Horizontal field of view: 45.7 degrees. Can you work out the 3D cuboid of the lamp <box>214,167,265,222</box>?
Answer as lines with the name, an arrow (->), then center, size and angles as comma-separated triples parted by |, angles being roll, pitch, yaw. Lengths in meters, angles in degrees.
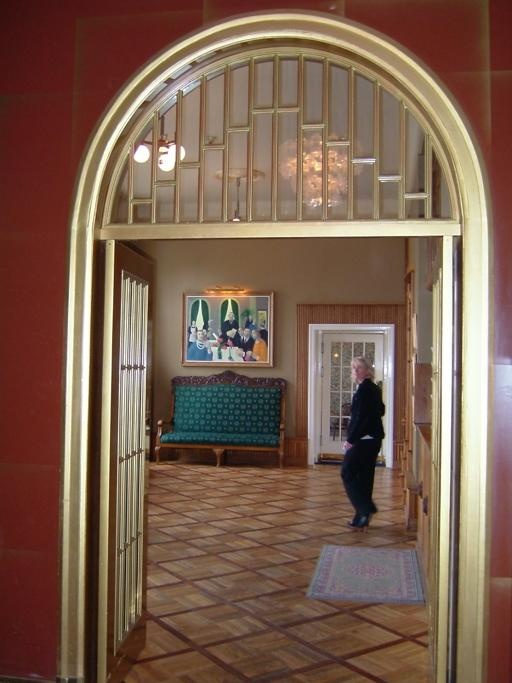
lamp -> -0.158, -1.280, 5.388 | 0.355, 0.438, 0.401 | 1, 1, -8

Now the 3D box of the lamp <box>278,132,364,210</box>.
lamp -> 0.277, -0.742, 2.557 | 0.317, 0.342, 0.353 | 1, 3, 13

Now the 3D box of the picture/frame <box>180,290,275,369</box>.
picture/frame -> -0.395, -0.189, 9.816 | 1.156, 1.056, 0.046 | 0, -3, 9

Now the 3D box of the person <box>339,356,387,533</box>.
person -> 0.964, 0.934, 5.500 | 0.378, 1.565, 0.397 | 0, 0, 11

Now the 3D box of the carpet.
carpet -> 0.791, 1.643, 4.315 | 0.747, 0.067, 1.233 | 1, 0, 11
